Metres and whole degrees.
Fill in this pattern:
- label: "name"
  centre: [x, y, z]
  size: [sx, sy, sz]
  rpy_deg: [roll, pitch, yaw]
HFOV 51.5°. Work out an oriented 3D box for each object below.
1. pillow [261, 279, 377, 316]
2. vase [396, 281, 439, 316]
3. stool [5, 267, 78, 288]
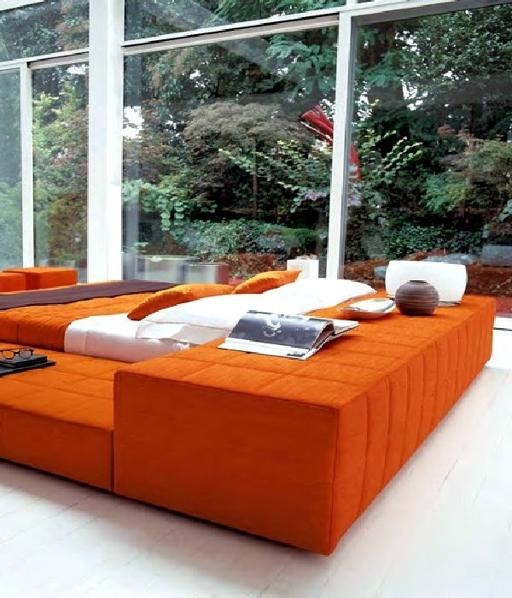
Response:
- label: "pillow"
  centre: [0.333, -0.021, 3.043]
  size: [0.297, 0.063, 0.449]
  rpy_deg: [6, 12, 36]
- label: "vase"
  centre: [0.801, -0.010, 2.690]
  size: [0.208, 0.135, 0.197]
  rpy_deg: [3, 6, 33]
- label: "stool"
  centre: [-2.361, -0.255, 5.830]
  size: [0.593, 0.290, 0.563]
  rpy_deg: [8, 13, 31]
